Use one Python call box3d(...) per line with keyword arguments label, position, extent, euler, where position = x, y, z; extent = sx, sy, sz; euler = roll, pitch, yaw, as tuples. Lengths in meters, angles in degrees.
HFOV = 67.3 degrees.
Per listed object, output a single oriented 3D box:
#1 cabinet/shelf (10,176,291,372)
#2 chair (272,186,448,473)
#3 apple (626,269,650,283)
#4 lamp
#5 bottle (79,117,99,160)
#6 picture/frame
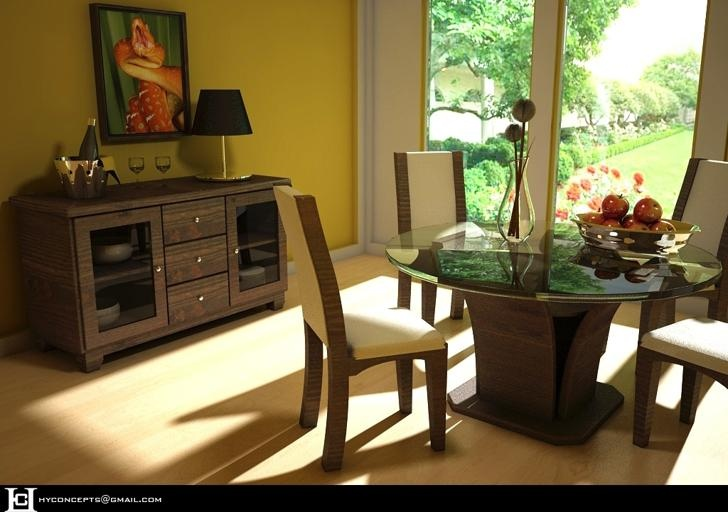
box3d(label="cabinet/shelf", position=(-1.470, 0.039, 4.037), extent=(0.693, 1.040, 1.806), euler=(9, 15, 29))
box3d(label="chair", position=(-0.006, 0.351, 2.834), extent=(0.926, 1.238, 0.756), euler=(0, 7, -4))
box3d(label="apple", position=(1.260, 0.080, 2.505), extent=(0.062, 0.021, 0.094), euler=(7, 22, 39))
box3d(label="lamp", position=(-1.104, -0.939, 4.241), extent=(0.471, 0.664, 0.492), euler=(15, 21, 41))
box3d(label="bottle", position=(-1.778, -0.744, 3.503), extent=(0.129, 0.244, 0.319), euler=(-11, 20, -25))
box3d(label="picture/frame", position=(-1.604, -1.309, 3.947), extent=(0.142, 0.897, 0.739), euler=(13, 24, 39))
